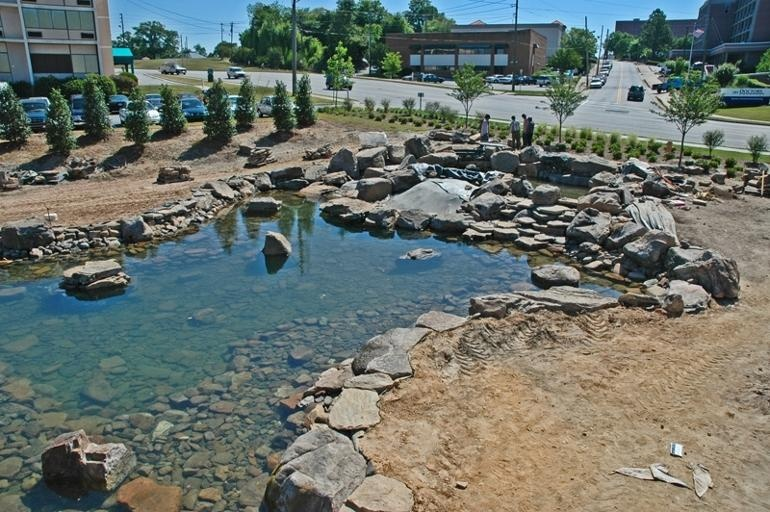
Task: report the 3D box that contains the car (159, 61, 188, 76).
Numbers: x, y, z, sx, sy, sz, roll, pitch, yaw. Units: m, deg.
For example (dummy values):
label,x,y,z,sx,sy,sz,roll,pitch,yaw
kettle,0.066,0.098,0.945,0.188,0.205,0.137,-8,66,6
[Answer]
label,x,y,z,sx,sy,sz,roll,pitch,yaw
car,-32.433,-28.871,83.344,4.438,1.585,2.441,8,20,23
